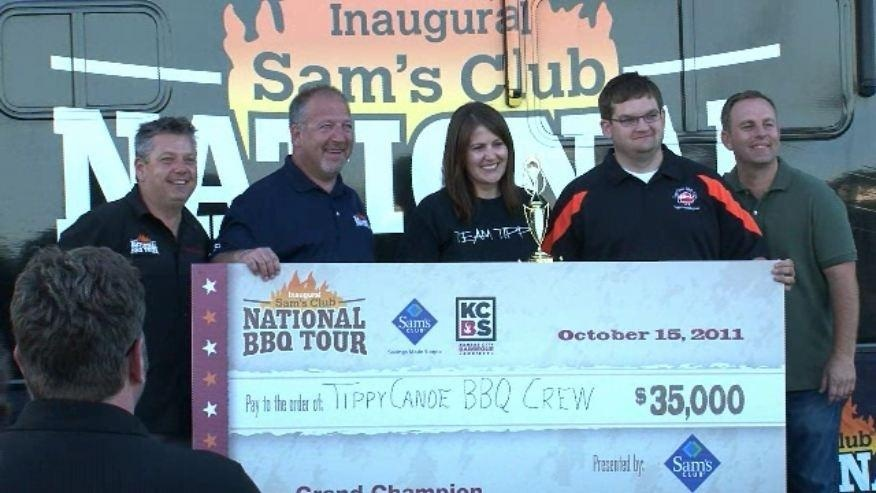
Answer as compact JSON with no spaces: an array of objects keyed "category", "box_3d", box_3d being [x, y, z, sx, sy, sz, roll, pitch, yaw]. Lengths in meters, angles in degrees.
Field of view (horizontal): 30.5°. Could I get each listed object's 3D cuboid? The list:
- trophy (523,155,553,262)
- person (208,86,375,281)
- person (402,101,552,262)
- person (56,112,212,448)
[{"category":"trophy","box_3d":[0.674,-0.229,10.939,0.166,0.710,0.211,-3,5,-5]},{"category":"person","box_3d":[-0.950,-0.324,11.061,0.832,1.507,1.162,-1,2,-14]},{"category":"person","box_3d":[0.242,-0.460,11.422,0.828,1.187,0.905,1,2,4]},{"category":"person","box_3d":[-2.232,0.255,11.394,0.936,2.353,1.132,0,0,-15]}]
